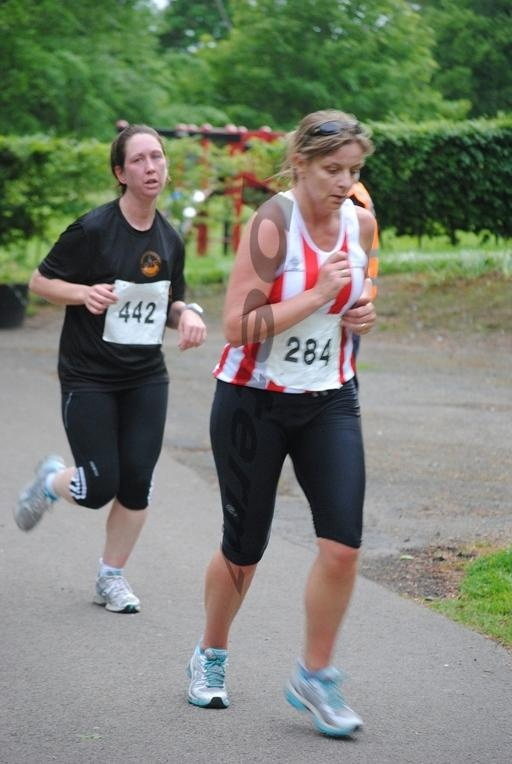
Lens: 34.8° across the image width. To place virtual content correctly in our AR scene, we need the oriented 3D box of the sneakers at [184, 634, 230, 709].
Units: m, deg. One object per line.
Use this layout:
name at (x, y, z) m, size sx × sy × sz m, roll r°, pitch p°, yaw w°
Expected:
sneakers at (-0.150, 0.841, 2.326) m, size 0.088 × 0.101 × 0.227 m, roll 2°, pitch 3°, yaw -9°

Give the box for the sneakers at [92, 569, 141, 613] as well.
sneakers at (-0.547, 0.820, 3.218) m, size 0.106 × 0.103 × 0.233 m, roll 0°, pitch 4°, yaw -40°

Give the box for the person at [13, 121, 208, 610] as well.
person at (-0.558, -0.039, 3.147) m, size 0.614 × 1.871 × 0.465 m, roll -1°, pitch 5°, yaw -13°

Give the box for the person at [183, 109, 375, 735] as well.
person at (0.054, 0.124, 2.169) m, size 0.501 × 1.650 × 0.352 m, roll 1°, pitch 5°, yaw 7°

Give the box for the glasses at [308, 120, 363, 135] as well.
glasses at (0.195, -0.617, 2.001) m, size 0.124 × 0.040 × 0.054 m, roll 0°, pitch 5°, yaw -4°

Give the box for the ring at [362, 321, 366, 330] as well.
ring at (0.282, -0.145, 2.143) m, size 0.011 × 0.016 × 0.017 m, roll 7°, pitch 20°, yaw 0°
